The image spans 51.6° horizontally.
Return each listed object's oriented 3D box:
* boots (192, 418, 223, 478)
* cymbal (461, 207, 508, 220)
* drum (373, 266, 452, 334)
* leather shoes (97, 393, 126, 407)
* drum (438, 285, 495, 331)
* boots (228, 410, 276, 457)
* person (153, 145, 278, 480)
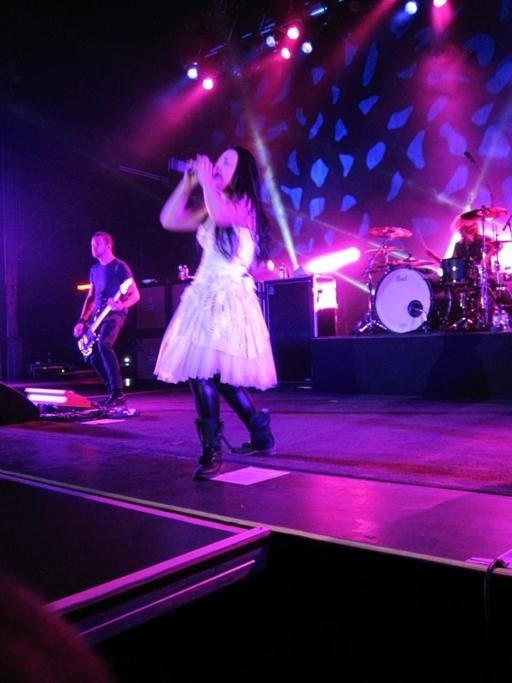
[{"bbox_3d":[-0.189,0.431,2.101,0.094,0.234,0.223,-3,6,14],"label":"boots"},{"bbox_3d":[2.524,-1.428,5.955,0.287,0.079,0.292,8,25,45],"label":"cymbal"},{"bbox_3d":[1.734,-0.460,6.038,0.532,0.737,0.742,-7,4,-34],"label":"drum"},{"bbox_3d":[-1.235,0.492,4.505,0.228,0.097,0.272,-7,6,-13],"label":"leather shoes"},{"bbox_3d":[2.258,-0.365,5.782,0.562,0.510,0.505,-8,20,-17],"label":"drum"},{"bbox_3d":[-0.030,0.432,2.532,0.249,0.213,0.119,-3,4,-10],"label":"boots"},{"bbox_3d":[-0.207,-0.139,2.296,0.359,1.400,0.690,-1,7,35],"label":"person"}]
